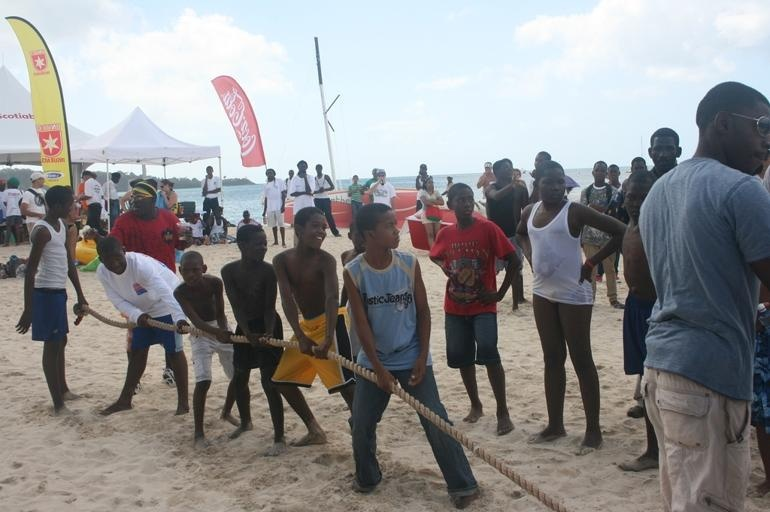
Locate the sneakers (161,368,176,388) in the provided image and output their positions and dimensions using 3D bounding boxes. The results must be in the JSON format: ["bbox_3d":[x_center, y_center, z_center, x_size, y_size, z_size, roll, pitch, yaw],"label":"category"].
[{"bbox_3d":[-2.371,1.336,8.277,0.122,0.156,0.302,1,-5,-8],"label":"sneakers"}]

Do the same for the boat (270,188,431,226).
[{"bbox_3d":[-1.370,-1.296,23.631,5.509,1.316,1.560,0,9,9],"label":"boat"}]
